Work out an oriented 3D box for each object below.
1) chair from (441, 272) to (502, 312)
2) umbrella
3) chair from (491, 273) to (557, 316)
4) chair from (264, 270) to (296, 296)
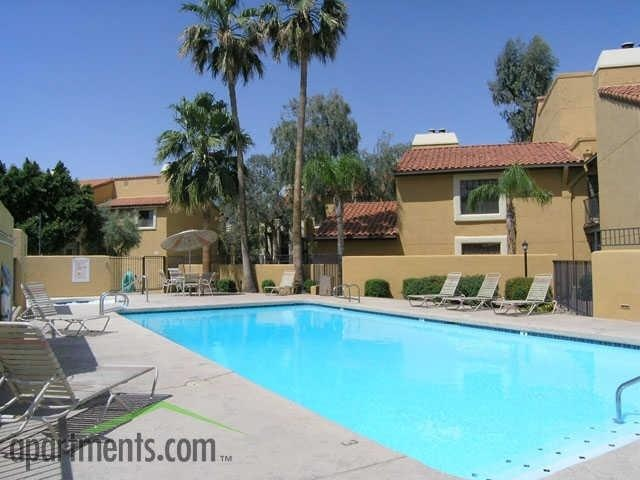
[{"bbox_3d":[5.269,1.803,18.711,1.548,1.260,1.179,1,-5,-24],"label":"chair"},{"bbox_3d":[-5.760,0.286,24.430,2.255,1.568,1.601,-2,-2,-16],"label":"umbrella"},{"bbox_3d":[6.562,1.828,17.467,2.033,1.619,1.190,3,-7,-30],"label":"chair"},{"bbox_3d":[-1.708,1.913,24.641,0.883,1.119,1.272,-1,-3,44],"label":"chair"}]
